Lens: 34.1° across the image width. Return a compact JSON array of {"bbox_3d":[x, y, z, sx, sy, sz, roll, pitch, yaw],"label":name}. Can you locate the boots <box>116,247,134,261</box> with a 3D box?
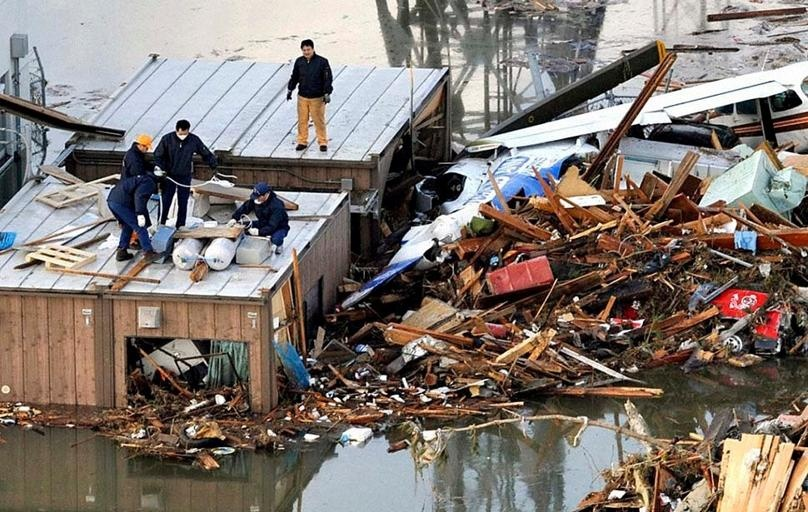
[{"bbox_3d":[-6.746,-0.021,31.772,0.217,0.385,0.416,33,40,30],"label":"boots"}]

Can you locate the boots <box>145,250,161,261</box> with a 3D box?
[{"bbox_3d":[-6.070,-0.008,31.711,0.410,0.256,0.171,-11,30,-8],"label":"boots"}]

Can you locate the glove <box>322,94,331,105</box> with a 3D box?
[{"bbox_3d":[-2.111,-4.264,35.550,0.290,0.373,0.144,-3,4,-5],"label":"glove"}]

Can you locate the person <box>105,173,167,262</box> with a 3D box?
[{"bbox_3d":[-6.534,-0.936,31.787,1.146,2.057,0.641,-3,9,-10],"label":"person"}]

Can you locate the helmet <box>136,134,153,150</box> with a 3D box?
[{"bbox_3d":[-6.282,-2.733,31.917,0.397,0.392,0.322,-9,11,-39],"label":"helmet"}]

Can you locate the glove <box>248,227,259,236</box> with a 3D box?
[{"bbox_3d":[-3.673,-0.601,32.231,0.250,0.173,0.234,-4,9,-18],"label":"glove"}]

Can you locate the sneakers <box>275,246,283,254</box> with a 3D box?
[{"bbox_3d":[-3.086,-0.146,32.258,0.208,0.195,0.462,0,0,1],"label":"sneakers"}]

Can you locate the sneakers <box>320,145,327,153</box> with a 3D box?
[{"bbox_3d":[-2.227,-2.959,36.154,0.140,0.133,0.178,3,18,4],"label":"sneakers"}]

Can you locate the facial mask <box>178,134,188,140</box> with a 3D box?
[{"bbox_3d":[-5.437,-2.926,32.363,0.214,0.103,0.236,0,-20,-7],"label":"facial mask"}]

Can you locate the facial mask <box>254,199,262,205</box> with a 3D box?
[{"bbox_3d":[-3.617,-1.341,32.238,0.161,0.148,0.379,-6,9,-30],"label":"facial mask"}]

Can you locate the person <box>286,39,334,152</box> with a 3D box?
[{"bbox_3d":[-2.578,-4.301,35.617,1.178,2.986,1.489,-2,9,-5],"label":"person"}]

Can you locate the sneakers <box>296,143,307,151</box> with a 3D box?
[{"bbox_3d":[-2.840,-2.994,36.198,0.292,0.123,0.116,1,-35,-4],"label":"sneakers"}]

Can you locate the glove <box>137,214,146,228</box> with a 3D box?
[{"bbox_3d":[-6.298,-0.839,31.605,0.195,0.251,0.245,2,19,-6],"label":"glove"}]

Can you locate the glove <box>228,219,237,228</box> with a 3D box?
[{"bbox_3d":[-4.233,-0.796,32.436,0.214,0.084,0.283,-1,16,0],"label":"glove"}]

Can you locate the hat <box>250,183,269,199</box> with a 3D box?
[{"bbox_3d":[-3.486,-1.541,32.113,0.447,0.447,0.303,-2,9,-5],"label":"hat"}]
